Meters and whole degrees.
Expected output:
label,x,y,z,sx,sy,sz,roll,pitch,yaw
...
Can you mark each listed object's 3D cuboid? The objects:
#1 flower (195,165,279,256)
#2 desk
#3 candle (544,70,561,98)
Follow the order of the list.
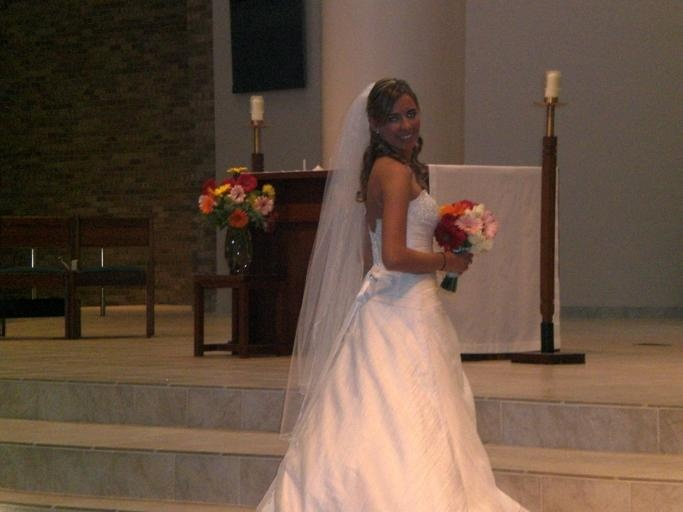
label,x,y,z,sx,sy,sz,roll,pitch,yaw
flower,-0.811,-0.377,7.693,0.523,0.498,0.546,1,-8,3
desk,-0.869,0.460,7.669,0.817,0.875,0.614,-3,-5,41
candle,1.594,-1.293,7.264,0.092,0.236,0.174,1,-1,17
